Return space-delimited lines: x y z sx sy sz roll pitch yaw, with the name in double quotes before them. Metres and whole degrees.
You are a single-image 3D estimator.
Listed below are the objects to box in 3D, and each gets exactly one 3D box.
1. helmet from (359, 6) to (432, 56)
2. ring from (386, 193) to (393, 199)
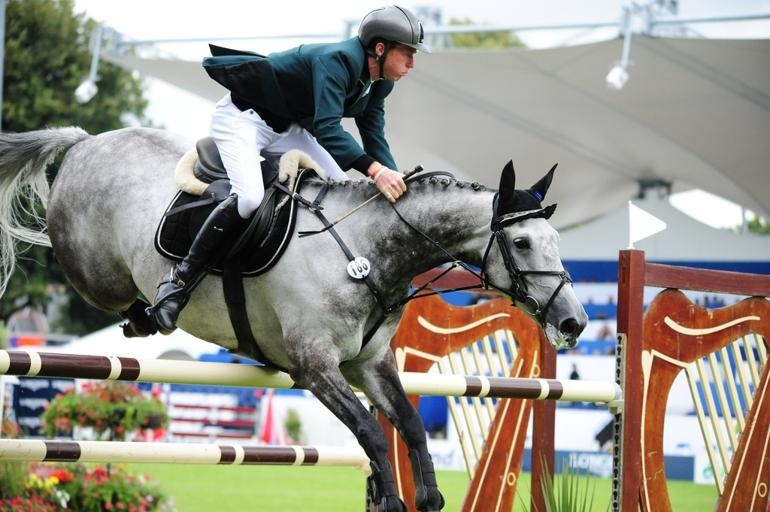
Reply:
"helmet" 0.087 -2.273 12.779 0.625 0.335 0.421 5 15 5
"ring" 0.056 -0.596 12.662 0.069 0.065 0.032 1 -10 2
